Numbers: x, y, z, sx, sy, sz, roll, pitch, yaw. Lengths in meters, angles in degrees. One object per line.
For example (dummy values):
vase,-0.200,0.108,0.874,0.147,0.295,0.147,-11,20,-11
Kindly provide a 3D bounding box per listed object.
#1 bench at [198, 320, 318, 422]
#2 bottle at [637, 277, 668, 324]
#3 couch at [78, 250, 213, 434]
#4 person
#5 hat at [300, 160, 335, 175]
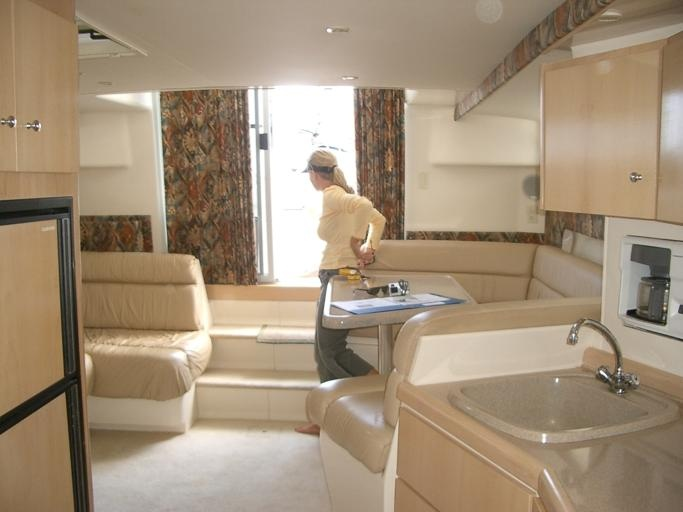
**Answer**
bench,-0.615,1.001,4.171,1.106,0.660,0.857,1,1,8
bottle,1.092,0.158,1.727,0.093,0.138,0.130,7,9,10
couch,-1.645,0.637,4.106,1.190,1.173,1.255,1,-1,-4
person,0.059,0.239,3.662,0.601,2.012,0.643,0,0,-23
hat,-0.171,-0.642,3.606,0.245,0.086,0.275,0,4,1
